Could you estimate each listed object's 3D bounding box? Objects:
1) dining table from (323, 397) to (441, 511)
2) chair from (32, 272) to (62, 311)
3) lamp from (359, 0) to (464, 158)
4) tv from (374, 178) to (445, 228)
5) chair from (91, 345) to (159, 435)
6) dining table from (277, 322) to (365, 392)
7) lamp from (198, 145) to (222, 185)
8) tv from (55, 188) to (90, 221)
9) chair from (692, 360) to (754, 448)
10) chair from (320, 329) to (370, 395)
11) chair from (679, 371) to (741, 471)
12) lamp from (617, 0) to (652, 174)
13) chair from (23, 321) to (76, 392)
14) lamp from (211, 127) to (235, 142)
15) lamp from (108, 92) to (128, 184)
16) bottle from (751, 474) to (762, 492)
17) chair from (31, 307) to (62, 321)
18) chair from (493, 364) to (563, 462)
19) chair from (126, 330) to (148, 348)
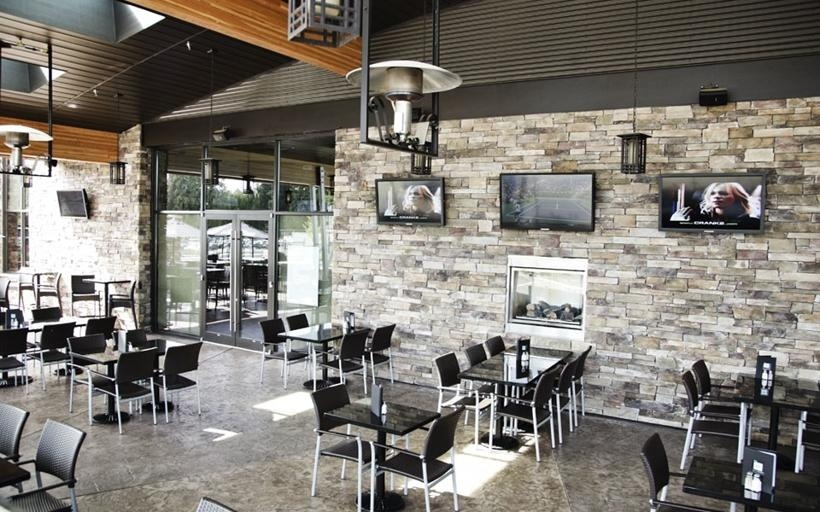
[{"bbox_3d":[-0.276,2.437,7.455,1.445,1.123,1.349,0,-5,24],"label":"dining table"},{"bbox_3d":[-8.909,0.832,14.718,0.603,0.923,1.566,-3,6,-31],"label":"chair"},{"bbox_3d":[-0.073,-1.739,5.943,1.018,1.398,0.690,-1,6,-21],"label":"lamp"},{"bbox_3d":[-0.060,-0.991,10.326,1.575,0.824,0.162,-3,5,-35],"label":"tv"},{"bbox_3d":[-4.252,1.919,8.851,0.855,1.150,1.045,-4,7,-42],"label":"chair"},{"bbox_3d":[-1.480,1.565,10.025,1.530,0.933,1.177,4,7,37],"label":"dining table"},{"bbox_3d":[-3.619,-1.671,10.901,0.486,0.711,0.389,-7,9,-4],"label":"lamp"},{"bbox_3d":[-8.056,-1.258,14.329,0.906,0.711,0.226,3,6,18],"label":"tv"},{"bbox_3d":[4.276,2.036,8.148,0.784,0.916,0.834,-1,8,-44],"label":"chair"},{"bbox_3d":[-1.082,1.736,9.782,0.770,0.842,0.677,2,-3,-39],"label":"chair"},{"bbox_3d":[4.114,2.178,7.952,1.084,0.991,0.977,-2,8,3],"label":"chair"},{"bbox_3d":[3.289,-2.504,8.636,0.390,2.596,0.839,3,7,22],"label":"lamp"},{"bbox_3d":[-5.987,1.577,10.071,0.759,0.795,0.688,7,2,31],"label":"chair"},{"bbox_3d":[-3.868,-2.507,12.216,0.285,0.295,0.473,-4,7,-43],"label":"lamp"},{"bbox_3d":[-6.306,-2.487,12.911,0.479,1.882,0.417,-2,17,-37],"label":"lamp"},{"bbox_3d":[3.409,2.238,5.883,0.104,0.177,0.033,1,6,-1],"label":"bottle"},{"bbox_3d":[-6.782,1.114,11.176,0.475,0.254,0.437,-3,6,-36],"label":"chair"},{"bbox_3d":[1.619,2.117,8.354,0.846,1.204,1.017,3,6,22],"label":"chair"},{"bbox_3d":[-4.335,1.331,9.559,0.315,0.318,0.323,3,-3,-43],"label":"chair"}]
